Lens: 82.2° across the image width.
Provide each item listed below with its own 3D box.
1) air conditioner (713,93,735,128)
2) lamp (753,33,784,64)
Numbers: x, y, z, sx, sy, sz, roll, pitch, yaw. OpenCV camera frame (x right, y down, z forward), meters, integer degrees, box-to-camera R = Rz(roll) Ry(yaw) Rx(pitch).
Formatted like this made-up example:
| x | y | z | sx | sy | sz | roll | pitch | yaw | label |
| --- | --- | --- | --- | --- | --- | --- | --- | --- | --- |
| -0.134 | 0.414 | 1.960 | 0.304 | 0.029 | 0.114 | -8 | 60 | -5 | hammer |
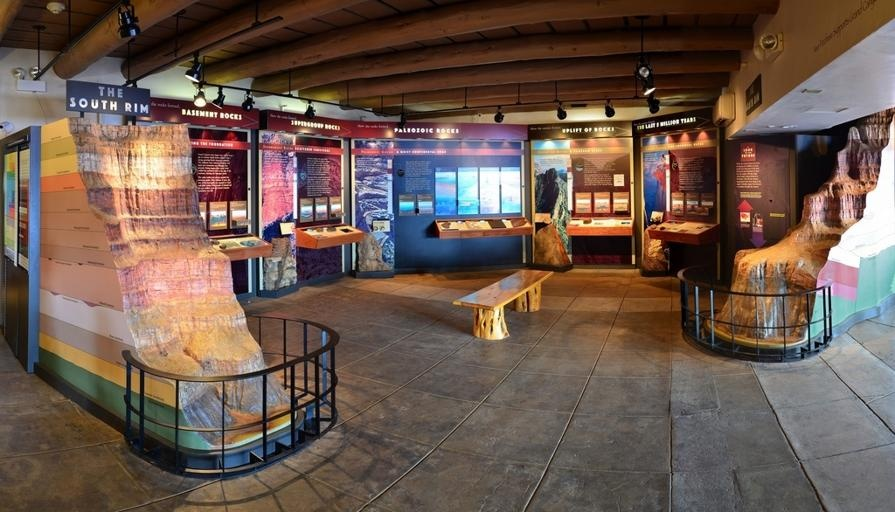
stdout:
| x | y | z | sx | sy | sz | roll | pitch | yaw | label |
| --- | --- | --- | --- | --- | --- | --- | --- | --- | --- |
| 5.588 | -2.980 | 10.430 | 0.376 | 0.526 | 1.269 | 6 | 7 | 22 | air conditioner |
| 4.682 | -2.975 | 7.311 | 0.152 | 0.370 | 0.479 | 5 | 11 | -17 | lamp |
